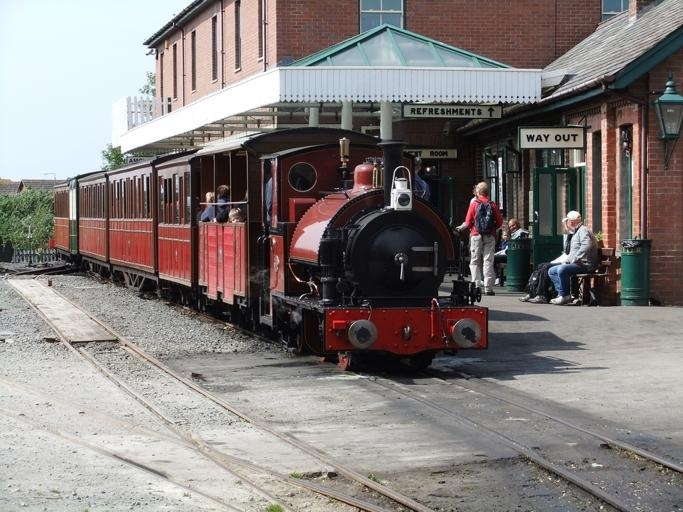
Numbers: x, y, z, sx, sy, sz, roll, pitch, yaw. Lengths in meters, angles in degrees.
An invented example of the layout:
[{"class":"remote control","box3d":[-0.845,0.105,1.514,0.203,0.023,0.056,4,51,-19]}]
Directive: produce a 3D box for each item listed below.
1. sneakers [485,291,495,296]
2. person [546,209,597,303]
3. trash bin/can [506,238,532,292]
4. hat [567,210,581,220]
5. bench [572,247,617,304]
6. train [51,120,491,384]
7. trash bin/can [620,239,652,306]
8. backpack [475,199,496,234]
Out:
[{"class":"sneakers","box3d":[3.360,0.828,16.931,0.086,0.110,0.260,0,-5,0]},{"class":"person","box3d":[4.635,0.031,14.998,0.856,1.884,0.580,1,3,40]},{"class":"trash bin/can","box3d":[4.282,0.218,17.893,0.742,1.290,0.754,-3,-7,22]},{"class":"hat","box3d":[4.606,-0.832,14.869,0.187,0.157,0.256,-3,9,-10]},{"class":"bench","box3d":[5.141,0.341,15.117,0.470,0.747,1.151,0,0,-5]},{"class":"train","box3d":[-2.721,-0.384,16.384,3.591,3.524,17.194,0,4,-19]},{"class":"trash bin/can","box3d":[5.705,0.304,14.478,0.516,1.311,0.427,0,3,16]},{"class":"backpack","box3d":[3.151,-0.902,16.361,0.512,0.774,0.409,6,21,26]}]
